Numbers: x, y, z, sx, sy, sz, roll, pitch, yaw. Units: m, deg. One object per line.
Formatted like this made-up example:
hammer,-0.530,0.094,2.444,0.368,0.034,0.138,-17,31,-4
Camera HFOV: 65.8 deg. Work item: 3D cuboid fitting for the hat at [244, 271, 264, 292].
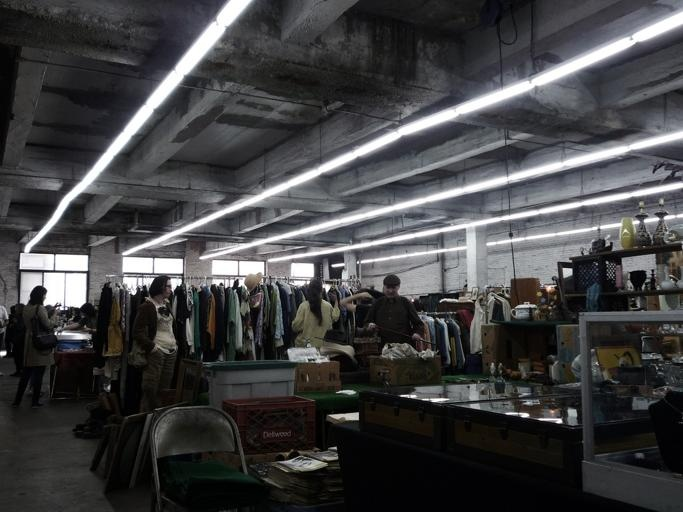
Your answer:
hat,-1.556,0.459,9.232,0.258,0.360,0.460,0,-6,-6

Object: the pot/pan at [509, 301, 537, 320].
pot/pan,2.152,0.674,6.379,0.257,0.191,0.310,9,-16,-37

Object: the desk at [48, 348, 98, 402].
desk,-4.833,2.143,9.796,0.856,0.832,0.647,2,3,-10

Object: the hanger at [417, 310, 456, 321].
hanger,1.709,1.071,9.496,0.416,0.106,0.417,3,-5,-29

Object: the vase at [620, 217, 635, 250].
vase,3.128,-0.250,5.783,0.144,0.379,0.319,-4,-7,28

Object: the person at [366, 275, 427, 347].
person,0.613,0.634,6.191,0.686,0.850,0.701,0,-6,-6

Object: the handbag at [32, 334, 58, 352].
handbag,-4.663,1.355,8.286,0.252,0.306,0.344,-19,-16,36

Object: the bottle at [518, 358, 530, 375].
bottle,1.997,1.216,5.791,0.136,0.213,0.132,3,-7,0

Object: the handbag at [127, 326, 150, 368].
handbag,-2.591,1.242,6.691,0.199,0.383,0.426,2,-7,-26
